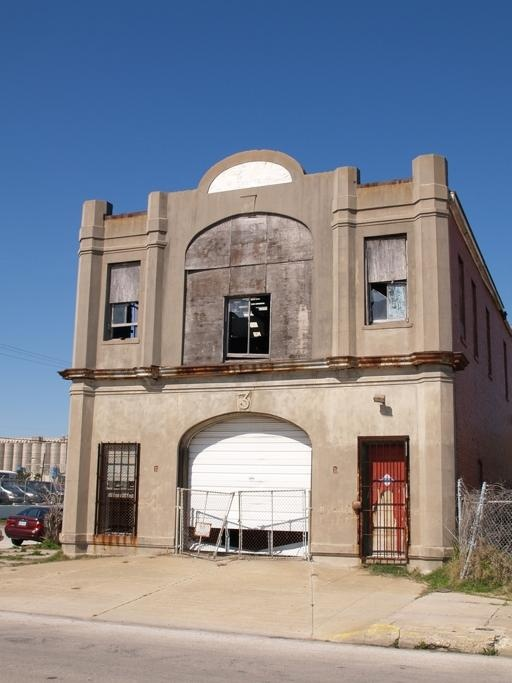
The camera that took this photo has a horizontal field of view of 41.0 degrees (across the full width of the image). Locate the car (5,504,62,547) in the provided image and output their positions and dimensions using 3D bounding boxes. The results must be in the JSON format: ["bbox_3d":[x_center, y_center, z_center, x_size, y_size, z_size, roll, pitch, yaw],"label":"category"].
[{"bbox_3d":[-6.614,5.779,21.144,1.190,0.948,2.702,1,-6,8],"label":"car"}]
